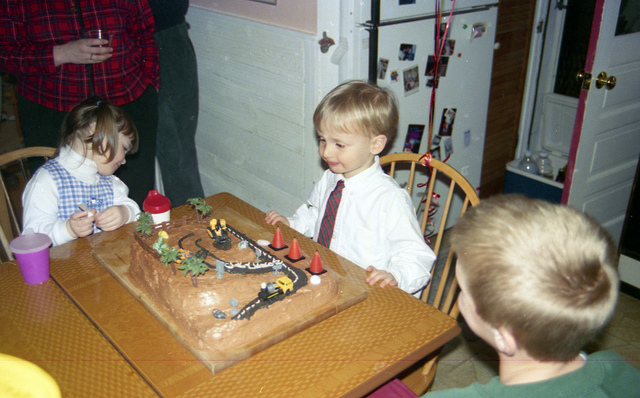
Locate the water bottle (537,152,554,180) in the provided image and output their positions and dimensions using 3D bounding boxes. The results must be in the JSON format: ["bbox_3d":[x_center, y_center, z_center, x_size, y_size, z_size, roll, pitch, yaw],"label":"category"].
[{"bbox_3d":[2.009,-0.290,3.832,0.154,0.241,0.149,-4,25,2],"label":"water bottle"}]

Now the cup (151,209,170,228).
[{"bbox_3d":[-0.708,0.086,1.936,0.072,0.065,0.069,0,16,0],"label":"cup"}]

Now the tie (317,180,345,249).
[{"bbox_3d":[0.034,0.092,2.222,0.106,0.425,0.055,14,35,4],"label":"tie"}]

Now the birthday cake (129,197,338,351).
[{"bbox_3d":[-0.375,0.242,1.781,0.866,0.259,0.686,21,28,37],"label":"birthday cake"}]

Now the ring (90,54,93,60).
[{"bbox_3d":[-1.326,-0.822,2.506,0.023,0.030,0.008,13,11,10],"label":"ring"}]

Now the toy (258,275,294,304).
[{"bbox_3d":[-0.157,0.321,1.584,0.116,0.065,0.070,-19,34,-30],"label":"toy"}]

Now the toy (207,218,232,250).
[{"bbox_3d":[-0.420,0.133,1.820,0.090,0.065,0.178,-4,20,-23],"label":"toy"}]

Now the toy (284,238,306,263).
[{"bbox_3d":[-0.102,0.215,1.803,0.085,0.092,0.080,-16,40,-22],"label":"toy"}]

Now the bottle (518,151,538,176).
[{"bbox_3d":[1.853,-0.319,3.829,0.168,0.174,0.160,13,30,32],"label":"bottle"}]

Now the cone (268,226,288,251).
[{"bbox_3d":[-0.173,0.160,1.878,0.083,0.099,0.075,-16,41,-24],"label":"cone"}]

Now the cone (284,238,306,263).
[{"bbox_3d":[-0.102,0.211,1.809,0.082,0.095,0.083,-22,42,-29],"label":"cone"}]

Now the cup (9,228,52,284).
[{"bbox_3d":[-1.129,0.217,1.712,0.129,0.206,0.122,-4,25,2],"label":"cup"}]

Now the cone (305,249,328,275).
[{"bbox_3d":[-0.022,0.251,1.723,0.081,0.092,0.077,-13,44,-16],"label":"cone"}]
